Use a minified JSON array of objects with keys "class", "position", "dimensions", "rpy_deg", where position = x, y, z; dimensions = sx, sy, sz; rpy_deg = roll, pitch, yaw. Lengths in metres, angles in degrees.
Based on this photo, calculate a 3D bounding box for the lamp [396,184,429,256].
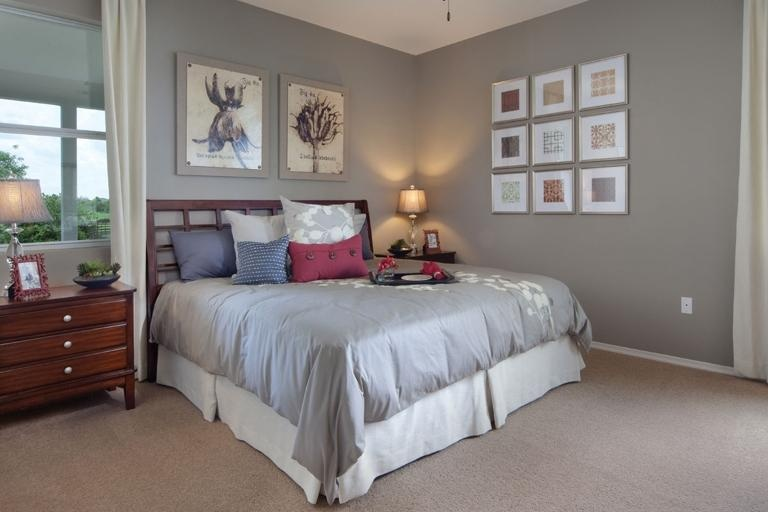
[{"class":"lamp","position":[0.353,-0.471,6.273],"dimensions":[0.380,0.896,0.380],"rpy_deg":[1,18,11]}]

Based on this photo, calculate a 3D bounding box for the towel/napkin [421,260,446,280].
[{"class":"towel/napkin","position":[0.425,0.127,4.241],"dimensions":[0.087,0.134,0.189],"rpy_deg":[10,8,11]}]

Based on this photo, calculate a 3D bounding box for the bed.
[{"class":"bed","position":[-0.503,0.770,3.841],"dimensions":[2.099,1.209,2.067],"rpy_deg":[-2,2,-45]}]

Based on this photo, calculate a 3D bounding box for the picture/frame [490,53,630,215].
[{"class":"picture/frame","position":[1.883,-1.292,5.219],"dimensions":[1.738,1.893,0.065],"rpy_deg":[0,1,41]}]

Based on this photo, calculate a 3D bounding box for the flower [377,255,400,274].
[{"class":"flower","position":[0.030,0.076,4.374],"dimensions":[0.163,0.084,0.140],"rpy_deg":[-4,3,20]}]

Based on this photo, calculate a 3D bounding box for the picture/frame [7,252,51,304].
[{"class":"picture/frame","position":[-2.668,0.173,3.741],"dimensions":[0.038,0.472,0.362],"rpy_deg":[-20,-13,32]}]
